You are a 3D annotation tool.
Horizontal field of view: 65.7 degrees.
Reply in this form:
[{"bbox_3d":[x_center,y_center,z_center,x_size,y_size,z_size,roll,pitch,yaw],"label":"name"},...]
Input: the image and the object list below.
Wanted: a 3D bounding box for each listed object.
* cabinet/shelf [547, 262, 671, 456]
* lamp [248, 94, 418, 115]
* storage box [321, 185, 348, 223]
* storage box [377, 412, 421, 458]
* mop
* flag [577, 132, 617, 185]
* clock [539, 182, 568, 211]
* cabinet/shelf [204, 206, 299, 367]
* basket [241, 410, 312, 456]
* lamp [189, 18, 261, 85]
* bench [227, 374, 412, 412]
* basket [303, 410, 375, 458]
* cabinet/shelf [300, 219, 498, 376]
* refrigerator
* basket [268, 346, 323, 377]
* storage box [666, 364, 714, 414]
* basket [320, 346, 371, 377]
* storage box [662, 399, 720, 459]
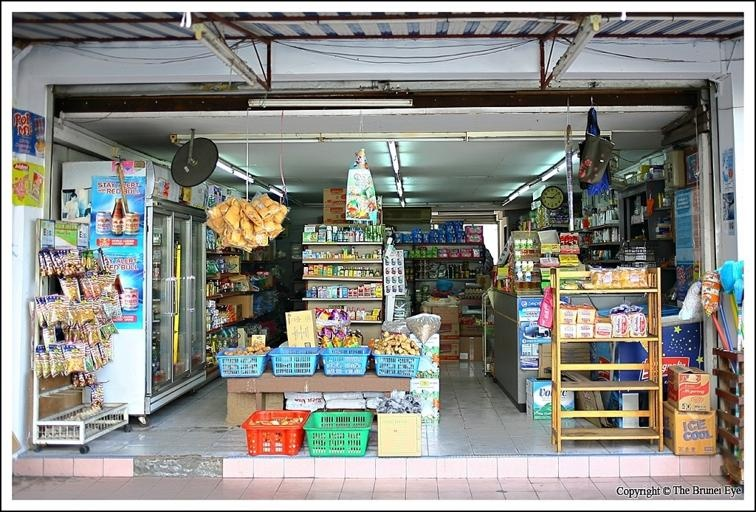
[{"bbox_3d":[2.701,1.113,7.122,1.521,2.074,1.041,-1,2,6],"label":"cabinet/shelf"},{"bbox_3d":[-0.623,-1.897,7.292,2.108,0.221,0.429,-2,-1,8],"label":"lamp"},{"bbox_3d":[-0.682,-0.917,10.899,0.550,0.685,0.401,2,4,32],"label":"storage box"},{"bbox_3d":[0.232,1.991,6.740,0.513,0.457,0.427,1,4,-2],"label":"storage box"},{"bbox_3d":[3.957,0.663,6.985,0.360,0.946,0.412,-1,4,-1],"label":"mop"},{"bbox_3d":[2.674,-1.206,7.250,0.393,0.570,0.478,2,1,5],"label":"flag"},{"bbox_3d":[3.680,-1.245,12.326,0.599,0.546,0.552,0,-2,6],"label":"clock"},{"bbox_3d":[-2.482,0.474,12.555,1.372,3.043,5.984,-3,-1,-4],"label":"cabinet/shelf"},{"bbox_3d":[-1.196,2.017,6.829,0.693,0.404,0.607,0,-2,4],"label":"basket"},{"bbox_3d":[-1.745,-2.350,6.642,0.196,0.206,1.425,42,3,25],"label":"lamp"},{"bbox_3d":[-0.764,1.660,7.271,2.279,0.418,0.084,-2,-2,3],"label":"bench"},{"bbox_3d":[-0.471,2.005,6.670,0.830,0.399,0.593,1,2,-2],"label":"basket"},{"bbox_3d":[0.408,0.706,10.438,3.259,2.526,1.000,1,-2,-6],"label":"cabinet/shelf"},{"bbox_3d":[-3.426,0.589,8.724,1.264,3.270,2.470,0,-3,-1],"label":"refrigerator"},{"bbox_3d":[-1.066,1.338,7.474,0.621,0.323,0.420,-2,-1,-8],"label":"basket"},{"bbox_3d":[3.499,1.500,6.637,0.450,0.505,0.595,2,-3,16],"label":"storage box"},{"bbox_3d":[-0.424,1.337,7.496,0.648,0.300,0.499,-2,-1,-3],"label":"basket"},{"bbox_3d":[3.513,1.929,6.561,0.500,0.489,0.351,0,6,0],"label":"storage box"}]
